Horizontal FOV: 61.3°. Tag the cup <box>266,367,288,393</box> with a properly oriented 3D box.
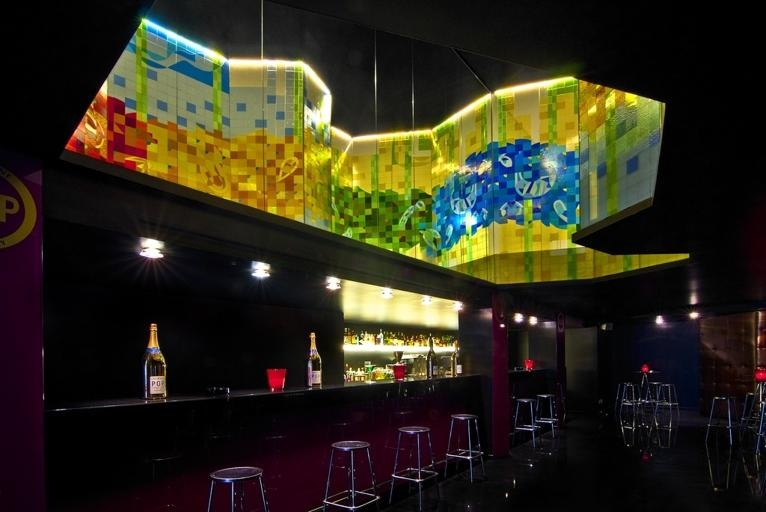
[{"bbox_3d":[-0.899,1.062,5.531,0.183,0.216,0.191,0,-10,0],"label":"cup"}]

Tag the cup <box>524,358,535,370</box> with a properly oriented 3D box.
[{"bbox_3d":[2.432,1.788,10.749,0.192,0.234,0.197,2,-4,0],"label":"cup"}]

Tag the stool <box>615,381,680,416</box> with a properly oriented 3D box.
[{"bbox_3d":[5.574,2.936,13.620,0.849,0.448,0.830,-2,-5,34],"label":"stool"}]
